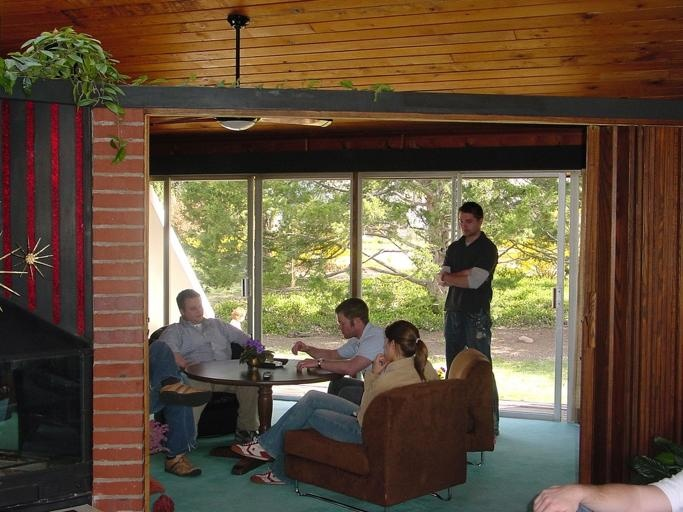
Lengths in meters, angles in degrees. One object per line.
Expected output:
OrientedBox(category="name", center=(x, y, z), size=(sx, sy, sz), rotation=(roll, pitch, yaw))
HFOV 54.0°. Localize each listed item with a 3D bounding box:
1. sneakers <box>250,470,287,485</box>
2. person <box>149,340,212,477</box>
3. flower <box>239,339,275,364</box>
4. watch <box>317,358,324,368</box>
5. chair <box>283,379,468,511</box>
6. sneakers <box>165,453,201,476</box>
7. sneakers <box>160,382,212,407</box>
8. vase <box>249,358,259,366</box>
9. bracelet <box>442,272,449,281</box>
OrientedBox(category="sneakers", center=(-0.570, 1.703, 5.182), size=(0.346, 0.094, 0.098), rotation=(3, -7, 7))
OrientedBox(category="person", center=(-1.315, 1.201, 5.269), size=(0.589, 1.004, 0.612), rotation=(-6, 9, -24))
OrientedBox(category="flower", center=(-0.706, 0.797, 5.584), size=(0.269, 0.126, 0.243), rotation=(2, 2, 28))
OrientedBox(category="watch", center=(-0.191, 0.868, 5.446), size=(0.063, 0.058, 0.078), rotation=(7, 5, 12))
OrientedBox(category="chair", center=(0.316, 1.140, 4.925), size=(1.256, 0.762, 1.187), rotation=(0, 1, -44))
OrientedBox(category="sneakers", center=(-1.207, 1.659, 5.341), size=(0.375, 0.170, 0.120), rotation=(1, -4, 10))
OrientedBox(category="sneakers", center=(-1.174, 1.050, 5.098), size=(0.475, 0.122, 0.169), rotation=(4, 21, 3))
OrientedBox(category="vase", center=(-0.711, 0.869, 5.507), size=(0.082, 0.051, 0.070), rotation=(-4, 7, -21))
OrientedBox(category="bracelet", center=(1.000, 0.191, 6.421), size=(0.022, 0.057, 0.071), rotation=(26, -17, -31))
